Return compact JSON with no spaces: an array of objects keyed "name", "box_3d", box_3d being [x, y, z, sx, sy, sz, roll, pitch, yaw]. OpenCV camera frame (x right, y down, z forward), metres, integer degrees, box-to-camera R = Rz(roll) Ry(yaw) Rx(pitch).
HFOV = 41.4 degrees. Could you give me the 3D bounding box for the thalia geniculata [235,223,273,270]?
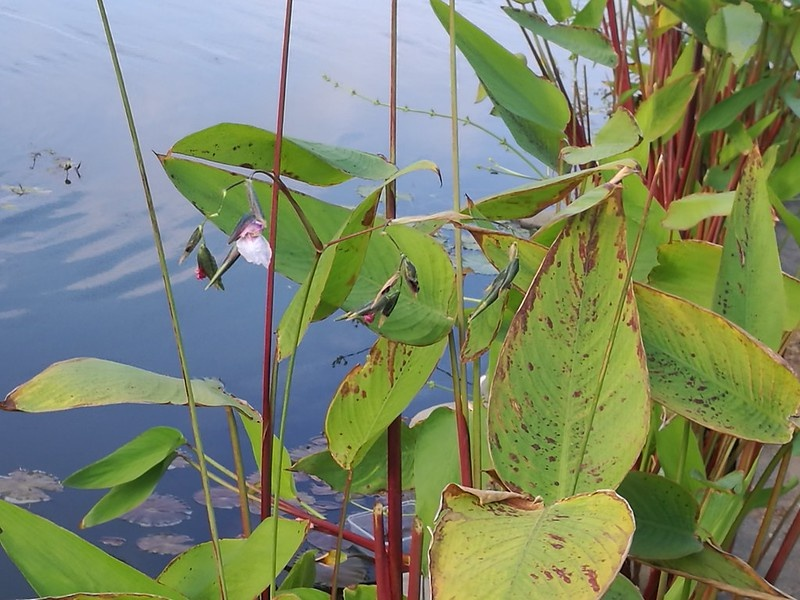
[{"name":"thalia geniculata","box_3d":[-0.210,-0.078,1.512,0.050,0.080,0.126,6,11,-7]}]
